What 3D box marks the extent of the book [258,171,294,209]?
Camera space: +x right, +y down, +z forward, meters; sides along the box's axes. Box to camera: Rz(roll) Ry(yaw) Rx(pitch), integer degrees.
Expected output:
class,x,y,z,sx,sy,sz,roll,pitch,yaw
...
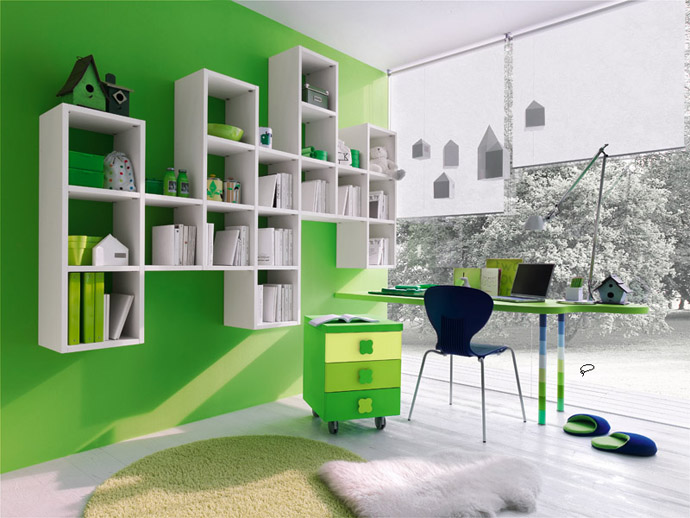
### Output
class,x,y,z,sx,sy,sz,roll,pitch,yaw
book,-0.501,-0.459,4.227,0.238,0.309,0.325,-3,5,-44

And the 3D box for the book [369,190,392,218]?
class,x,y,z,sx,sy,sz,roll,pitch,yaw
book,0.309,-0.462,4.984,0.229,0.264,0.230,-1,0,-33

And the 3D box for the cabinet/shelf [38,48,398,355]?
class,x,y,z,sx,sy,sz,roll,pitch,yaw
cabinet/shelf,-0.767,-0.522,4.052,2.648,2.079,0.603,-6,11,-42

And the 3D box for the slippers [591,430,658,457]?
class,x,y,z,sx,sy,sz,roll,pitch,yaw
slippers,1.819,1.205,3.680,0.296,0.089,0.176,-1,1,19

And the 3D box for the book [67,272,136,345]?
class,x,y,z,sx,sy,sz,roll,pitch,yaw
book,-1.540,0.279,3.482,0.401,0.426,0.325,-6,10,-38

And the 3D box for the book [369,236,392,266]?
class,x,y,z,sx,sy,sz,roll,pitch,yaw
book,0.305,-0.033,5.121,0.291,0.281,0.214,2,-3,-16

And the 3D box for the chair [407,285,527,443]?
class,x,y,z,sx,sy,sz,roll,pitch,yaw
chair,0.843,0.686,4.122,0.697,1.063,0.802,1,8,7

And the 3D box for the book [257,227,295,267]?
class,x,y,z,sx,sy,sz,roll,pitch,yaw
book,-0.502,-0.071,4.214,0.256,0.329,0.337,-1,1,-40

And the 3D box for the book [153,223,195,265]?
class,x,y,z,sx,sy,sz,roll,pitch,yaw
book,-1.124,-0.083,3.727,0.279,0.270,0.149,1,1,40

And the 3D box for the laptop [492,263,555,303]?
class,x,y,z,sx,sy,sz,roll,pitch,yaw
laptop,1.380,0.179,4.251,0.321,0.252,0.358,1,-1,-31

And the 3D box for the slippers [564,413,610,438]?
class,x,y,z,sx,sy,sz,roll,pitch,yaw
slippers,1.686,1.163,3.928,0.282,0.096,0.255,6,9,35

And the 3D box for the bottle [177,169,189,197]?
class,x,y,z,sx,sy,sz,roll,pitch,yaw
bottle,-1.072,-0.491,3.752,0.077,0.172,0.149,-2,8,-13

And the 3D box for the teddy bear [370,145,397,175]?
class,x,y,z,sx,sy,sz,roll,pitch,yaw
teddy bear,0.328,-0.857,4.993,0.180,0.109,0.298,2,-5,39

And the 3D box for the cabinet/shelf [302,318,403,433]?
class,x,y,z,sx,sy,sz,roll,pitch,yaw
cabinet/shelf,0.066,0.803,4.124,0.660,0.782,0.507,-2,8,-14

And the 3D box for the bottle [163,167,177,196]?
class,x,y,z,sx,sy,sz,roll,pitch,yaw
bottle,-1.160,-0.506,3.765,0.089,0.179,0.241,-1,8,-8

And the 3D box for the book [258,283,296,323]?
class,x,y,z,sx,sy,sz,roll,pitch,yaw
book,-0.555,0.297,4.253,0.245,0.323,0.335,-1,0,-36

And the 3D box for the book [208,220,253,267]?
class,x,y,z,sx,sy,sz,roll,pitch,yaw
book,-0.814,-0.090,4.008,0.253,0.273,0.310,-3,9,-25
